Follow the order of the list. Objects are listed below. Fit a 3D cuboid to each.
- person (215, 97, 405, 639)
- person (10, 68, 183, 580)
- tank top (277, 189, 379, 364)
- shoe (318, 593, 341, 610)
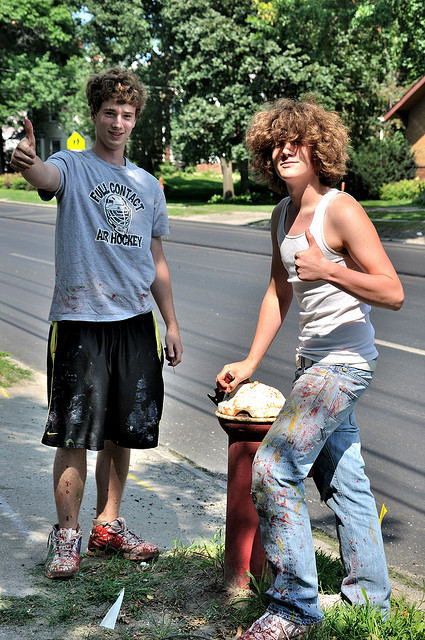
[{"bbox_3d":[0.384,0.090,2.086,0.635,1.832,0.714,3,2,-11],"label":"person"},{"bbox_3d":[-0.459,-0.038,2.407,0.386,1.964,0.906,5,3,32],"label":"person"},{"bbox_3d":[0.390,-0.138,2.025,0.300,0.546,0.252,-4,6,45],"label":"tank top"},{"bbox_3d":[0.396,0.946,2.046,0.070,0.024,0.113,3,2,6],"label":"shoe"}]
